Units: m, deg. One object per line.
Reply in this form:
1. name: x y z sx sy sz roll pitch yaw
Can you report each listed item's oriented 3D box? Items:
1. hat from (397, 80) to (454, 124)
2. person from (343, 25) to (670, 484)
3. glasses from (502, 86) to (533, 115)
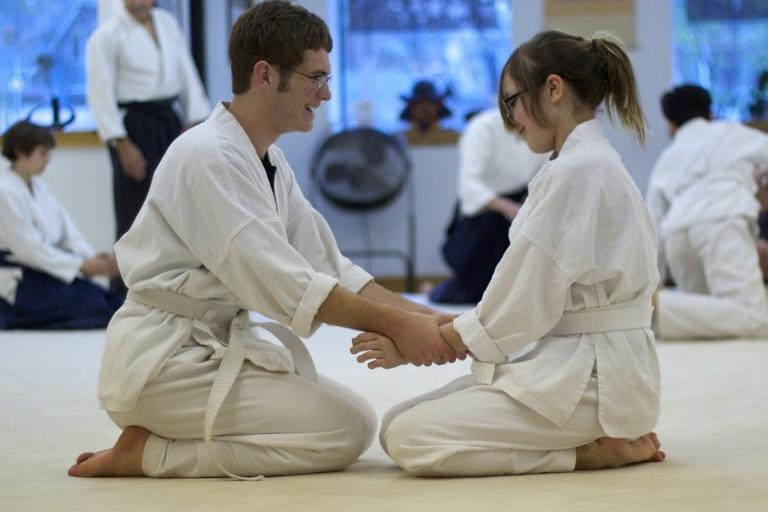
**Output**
1. hat: 0.360 -1.345 7.336 0.539 0.448 0.316 0 -9 -2
2. person: 0.428 0.108 3.397 1.198 1.740 1.018 1 -3 15
3. glasses: 0.411 -0.485 2.696 0.064 0.020 0.063 -29 -3 -3
